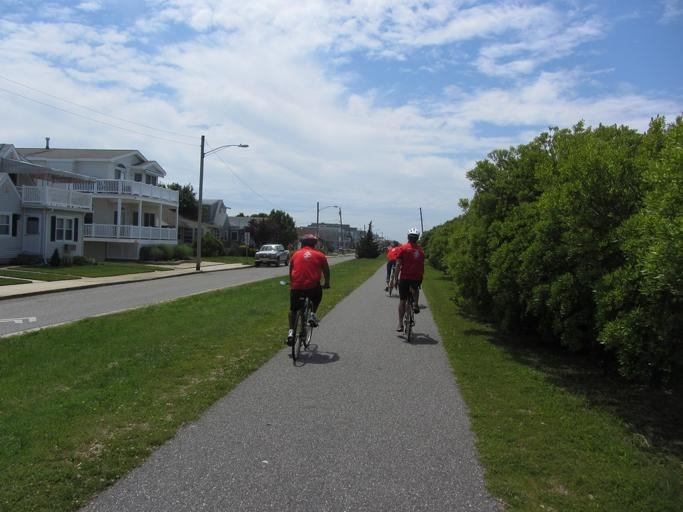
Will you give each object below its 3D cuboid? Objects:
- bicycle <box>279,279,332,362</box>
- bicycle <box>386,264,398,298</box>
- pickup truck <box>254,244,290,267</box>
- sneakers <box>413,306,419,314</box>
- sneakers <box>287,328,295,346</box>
[{"bbox_3d":[-0.699,1.389,9.972,0.641,0.930,1.432,3,10,4],"label":"bicycle"},{"bbox_3d":[1.814,1.051,20.071,0.596,0.875,1.388,5,17,3],"label":"bicycle"},{"bbox_3d":[-5.923,-0.100,44.657,1.610,1.473,3.665,0,-1,6],"label":"pickup truck"},{"bbox_3d":[1.702,1.233,11.753,0.107,0.139,0.137,3,-40,3],"label":"sneakers"},{"bbox_3d":[-0.902,1.439,9.210,0.112,0.342,0.187,2,6,-10],"label":"sneakers"}]
